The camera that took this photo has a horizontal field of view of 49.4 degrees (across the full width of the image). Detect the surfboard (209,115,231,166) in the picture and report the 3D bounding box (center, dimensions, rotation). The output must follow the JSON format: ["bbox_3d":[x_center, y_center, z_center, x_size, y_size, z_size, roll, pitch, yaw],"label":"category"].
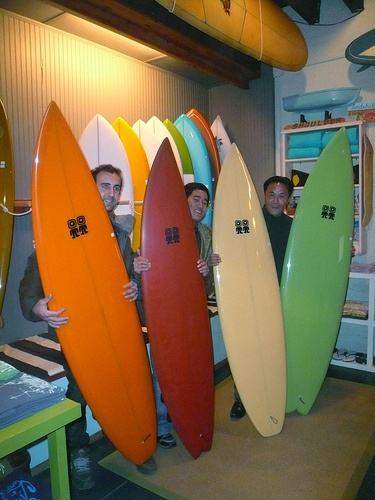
[{"bbox_3d":[0.283,-0.912,3.349,0.150,0.505,0.060,-1,-9,-12],"label":"surfboard"}]

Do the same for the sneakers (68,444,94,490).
[{"bbox_3d":[-0.412,0.811,1.556,0.045,0.097,0.137,-10,49,-31],"label":"sneakers"}]

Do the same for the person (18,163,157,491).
[{"bbox_3d":[-0.329,0.278,1.527,0.355,1.627,0.128,-1,-7,-38],"label":"person"}]

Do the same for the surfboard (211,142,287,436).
[{"bbox_3d":[0.235,0.187,2.072,0.304,1.352,0.167,-5,-12,-27],"label":"surfboard"}]

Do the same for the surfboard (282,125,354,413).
[{"bbox_3d":[0.655,0.108,2.202,0.294,1.474,0.181,11,-3,-4],"label":"surfboard"}]

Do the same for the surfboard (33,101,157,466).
[{"bbox_3d":[-0.475,0.120,1.647,0.370,1.548,0.170,-9,-6,-43],"label":"surfboard"}]

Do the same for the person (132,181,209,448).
[{"bbox_3d":[-0.014,0.175,1.975,0.266,1.391,0.190,-2,-5,-34],"label":"person"}]
